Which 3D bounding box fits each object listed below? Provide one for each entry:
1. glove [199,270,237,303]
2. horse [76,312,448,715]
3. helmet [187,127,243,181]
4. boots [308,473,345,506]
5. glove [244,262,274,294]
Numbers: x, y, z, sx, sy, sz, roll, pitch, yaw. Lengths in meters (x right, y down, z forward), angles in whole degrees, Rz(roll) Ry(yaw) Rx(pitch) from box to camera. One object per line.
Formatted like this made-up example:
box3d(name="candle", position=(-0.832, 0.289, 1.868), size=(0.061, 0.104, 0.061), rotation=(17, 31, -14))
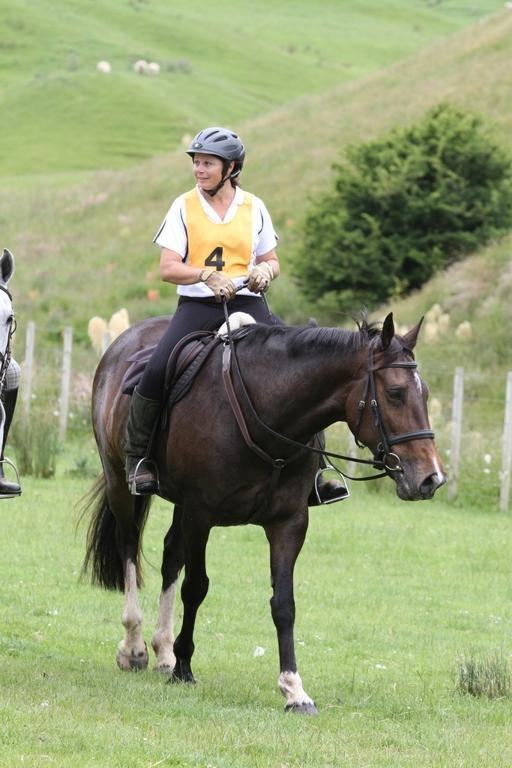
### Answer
box3d(name="glove", position=(-0.222, -0.597, 7.666), size=(0.148, 0.071, 0.220), rotation=(23, 10, -44))
box3d(name="horse", position=(-0.261, 0.820, 8.284), size=(1.003, 2.369, 3.889), rotation=(4, -2, -30))
box3d(name="helmet", position=(-0.228, -1.451, 7.982), size=(0.265, 0.243, 0.355), rotation=(14, 18, 30))
box3d(name="boots", position=(0.520, 0.682, 8.258), size=(0.173, 0.238, 0.265), rotation=(-1, 0, -44))
box3d(name="glove", position=(0.031, -0.651, 7.819), size=(0.127, 0.214, 0.090), rotation=(-21, -56, 34))
